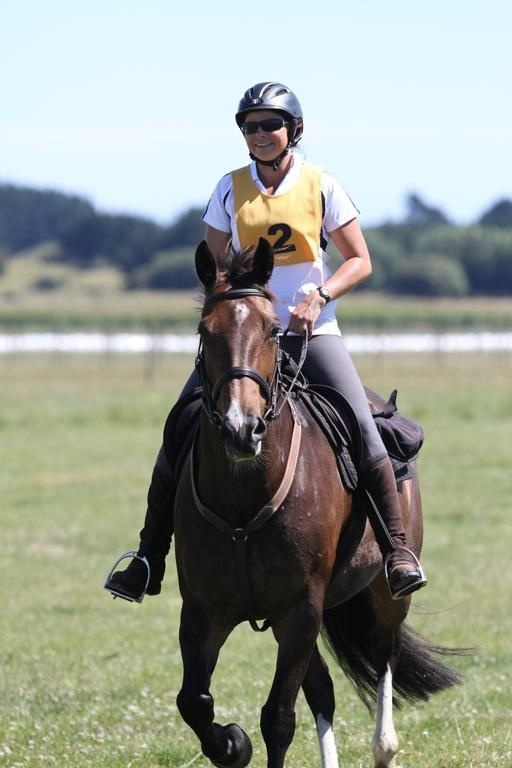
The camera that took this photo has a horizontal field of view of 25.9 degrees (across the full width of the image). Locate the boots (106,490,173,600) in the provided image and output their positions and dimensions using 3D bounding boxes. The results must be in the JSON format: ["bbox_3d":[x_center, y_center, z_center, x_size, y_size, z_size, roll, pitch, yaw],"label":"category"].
[{"bbox_3d":[-0.636,0.915,6.130,0.396,0.550,0.292,-3,1,-9],"label":"boots"}]

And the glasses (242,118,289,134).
[{"bbox_3d":[0.056,-1.380,6.062,0.236,0.086,0.112,-3,1,3],"label":"glasses"}]

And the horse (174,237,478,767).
[{"bbox_3d":[0.336,0.769,6.182,1.254,2.523,2.960,-3,1,15],"label":"horse"}]
